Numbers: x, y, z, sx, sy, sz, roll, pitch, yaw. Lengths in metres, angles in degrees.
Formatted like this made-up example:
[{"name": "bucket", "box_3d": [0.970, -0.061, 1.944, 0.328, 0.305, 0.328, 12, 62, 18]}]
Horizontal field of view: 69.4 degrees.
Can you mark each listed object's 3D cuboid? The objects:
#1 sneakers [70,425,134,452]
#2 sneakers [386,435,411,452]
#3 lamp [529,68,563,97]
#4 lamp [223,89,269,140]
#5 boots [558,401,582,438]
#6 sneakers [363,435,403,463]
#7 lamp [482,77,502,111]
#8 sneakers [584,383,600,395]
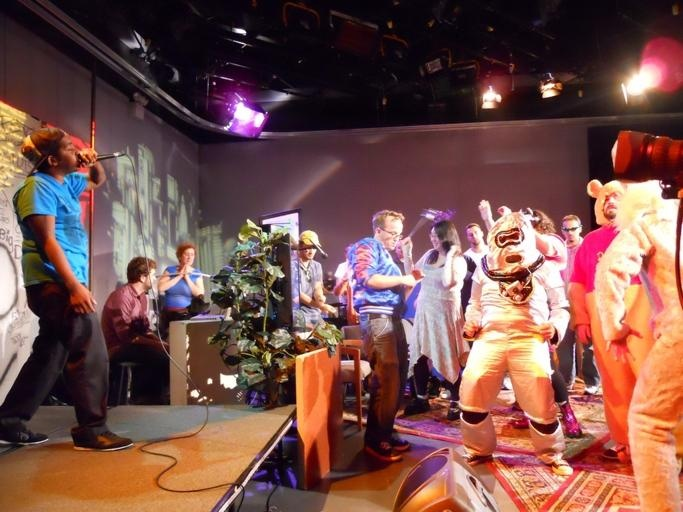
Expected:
[{"name": "sneakers", "box_3d": [-1.422, 1.082, 2.966, 0.379, 0.163, 0.143, 2, -10, -6]}, {"name": "sneakers", "box_3d": [0.444, 1.458, 3.844, 0.192, 0.079, 0.103, 2, -13, -7]}, {"name": "lamp", "box_3d": [2.689, -2.233, 6.395, 0.285, 0.208, 0.445, 0, 1, 25]}, {"name": "lamp", "box_3d": [-1.460, -2.006, 7.242, 0.558, 0.578, 0.481, 18, 18, -35]}, {"name": "boots", "box_3d": [1.900, 1.374, 4.125, 0.103, 0.326, 0.126, -19, -21, 17]}, {"name": "sneakers", "box_3d": [0.311, 1.480, 3.773, 0.293, 0.126, 0.113, -7, -10, 38]}, {"name": "lamp", "box_3d": [2.027, -2.183, 6.672, 0.260, 0.302, 0.278, -1, 13, 9]}, {"name": "sneakers", "box_3d": [2.726, 1.445, 5.397, 0.117, 0.049, 0.171, -1, -4, 14]}]
